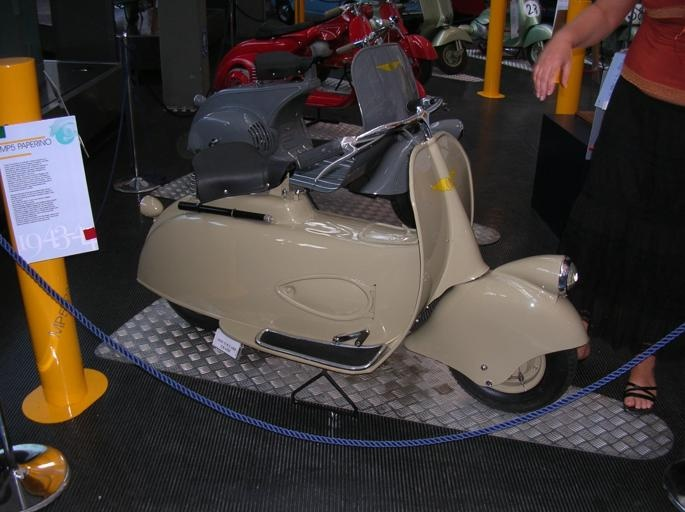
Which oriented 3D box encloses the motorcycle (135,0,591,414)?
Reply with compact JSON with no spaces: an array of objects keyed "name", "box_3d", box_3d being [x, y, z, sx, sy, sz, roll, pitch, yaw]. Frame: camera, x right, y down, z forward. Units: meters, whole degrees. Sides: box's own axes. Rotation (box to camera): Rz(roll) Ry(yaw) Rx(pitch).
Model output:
[{"name":"motorcycle","box_3d":[-0.028,-0.478,3.119,2.715,2.010,1.311,10,29,19]}]
